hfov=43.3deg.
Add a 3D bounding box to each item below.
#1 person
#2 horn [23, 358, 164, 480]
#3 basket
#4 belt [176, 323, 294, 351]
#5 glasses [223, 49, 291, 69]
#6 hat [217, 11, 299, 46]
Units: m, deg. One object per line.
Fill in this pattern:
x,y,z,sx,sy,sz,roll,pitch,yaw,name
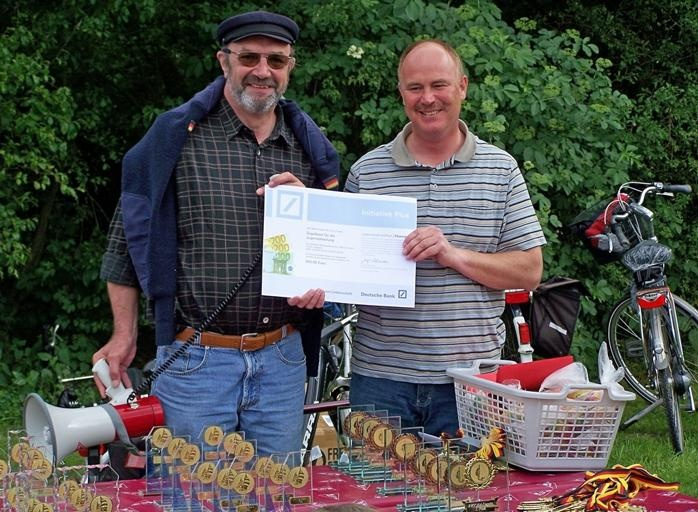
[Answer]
0.470,-0.066,4.603,0.997,2.304,0.827,1,1,17,person
-1.267,0.923,4.419,0.654,0.728,0.608,8,11,43,horn
0.876,0.787,4.443,0.812,0.499,0.895,-3,11,-21,basket
-0.520,0.425,4.524,0.502,0.115,0.079,-2,6,-24,belt
-0.461,-1.008,4.505,0.286,0.101,0.082,-1,6,-14,glasses
-0.469,-1.166,4.516,0.412,0.161,0.186,-1,6,-9,hat
